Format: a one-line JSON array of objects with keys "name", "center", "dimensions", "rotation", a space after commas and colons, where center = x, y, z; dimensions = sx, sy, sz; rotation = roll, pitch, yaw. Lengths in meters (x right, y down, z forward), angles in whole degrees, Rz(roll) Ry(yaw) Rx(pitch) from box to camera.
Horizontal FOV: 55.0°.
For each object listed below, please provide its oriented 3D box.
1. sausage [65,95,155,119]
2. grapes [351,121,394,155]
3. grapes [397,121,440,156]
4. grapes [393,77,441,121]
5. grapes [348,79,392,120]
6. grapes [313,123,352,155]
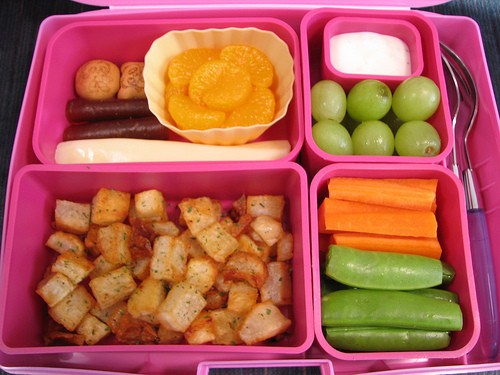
[{"name": "sausage", "center": [-0.693, -0.383, 2.356], "dimensions": [0.423, 0.058, 0.098], "rotation": [0, 68, 2]}, {"name": "grapes", "center": [0.559, -0.214, 2.178], "dimensions": [0.197, 0.086, 0.175], "rotation": [12, 69, 7]}, {"name": "grapes", "center": [0.765, -0.217, 2.170], "dimensions": [0.214, 0.090, 0.176], "rotation": [-2, 68, 2]}, {"name": "grapes", "center": [0.750, -0.408, 2.209], "dimensions": [0.145, 0.229, 0.175], "rotation": [-12, 25, -30]}, {"name": "grapes", "center": [0.549, -0.400, 2.222], "dimensions": [0.205, 0.155, 0.162], "rotation": [27, 71, 13]}, {"name": "grapes", "center": [0.372, -0.217, 2.164], "dimensions": [0.186, 0.086, 0.169], "rotation": [-2, 68, 1]}]
